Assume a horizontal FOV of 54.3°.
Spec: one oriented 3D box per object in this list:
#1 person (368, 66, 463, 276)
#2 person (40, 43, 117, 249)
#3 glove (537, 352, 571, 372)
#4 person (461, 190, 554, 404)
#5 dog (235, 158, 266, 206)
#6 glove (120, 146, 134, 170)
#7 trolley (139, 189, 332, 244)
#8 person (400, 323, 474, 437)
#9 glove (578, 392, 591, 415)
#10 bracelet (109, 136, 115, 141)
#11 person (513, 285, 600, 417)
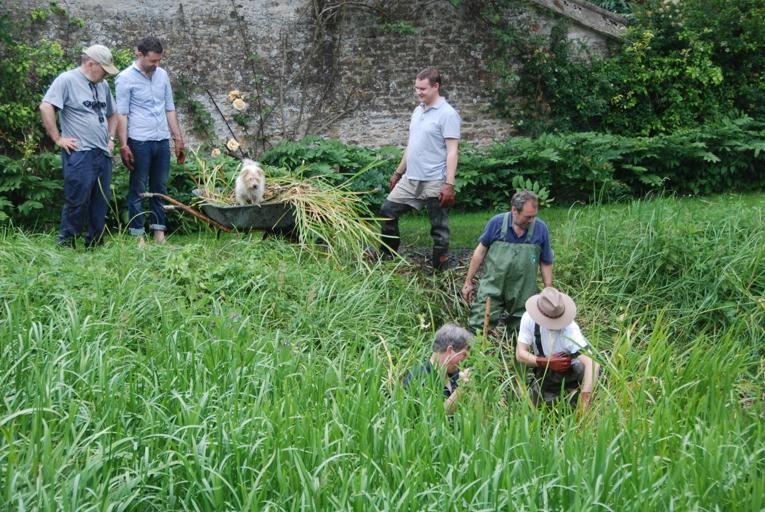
[{"bbox_3d":[0.440,-1.021,8.855,0.829,2.339,0.445,5,8,9],"label":"person"},{"bbox_3d":[-3.538,-1.272,8.661,0.799,2.296,0.538,0,9,-22],"label":"person"},{"bbox_3d":[1.594,0.986,6.886,0.236,0.116,0.178,5,2,-16],"label":"glove"},{"bbox_3d":[1.362,0.221,7.915,0.930,2.013,0.526,6,31,7],"label":"person"},{"bbox_3d":[-1.672,-0.857,9.393,0.351,0.665,1.210,3,7,-11],"label":"dog"},{"bbox_3d":[-3.144,-1.195,9.127,0.158,0.284,0.270,0,9,-22],"label":"glove"},{"bbox_3d":[-1.920,-0.474,8.924,1.824,0.784,0.899,-4,12,-16],"label":"trolley"},{"bbox_3d":[0.465,1.017,6.422,0.548,0.730,0.848,5,8,7],"label":"person"},{"bbox_3d":[1.751,1.291,6.486,0.103,0.134,0.404,-9,-20,12],"label":"glove"},{"bbox_3d":[-3.243,-1.398,8.871,0.072,0.076,0.017,2,-10,-15],"label":"bracelet"},{"bbox_3d":[1.584,0.929,6.951,0.466,1.004,0.733,-23,41,19],"label":"person"}]
